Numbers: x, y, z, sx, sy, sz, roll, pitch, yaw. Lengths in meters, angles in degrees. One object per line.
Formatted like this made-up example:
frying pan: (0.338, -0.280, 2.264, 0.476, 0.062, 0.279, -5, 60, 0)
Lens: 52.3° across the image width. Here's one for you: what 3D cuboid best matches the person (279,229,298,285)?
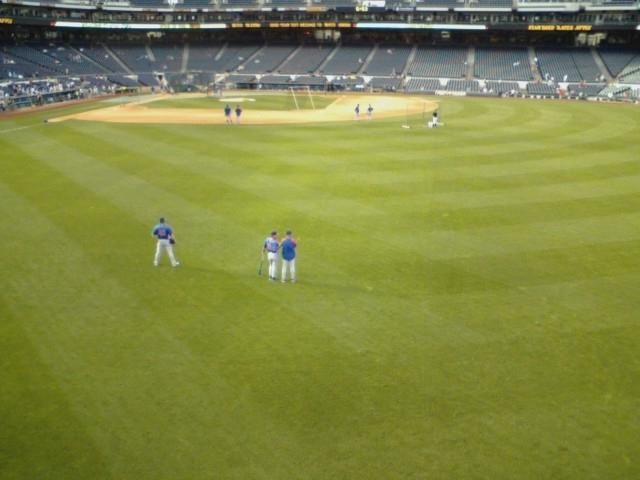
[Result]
person: (-1.213, 0.574, 24.338, 0.600, 1.898, 0.613, -2, 20, -10)
